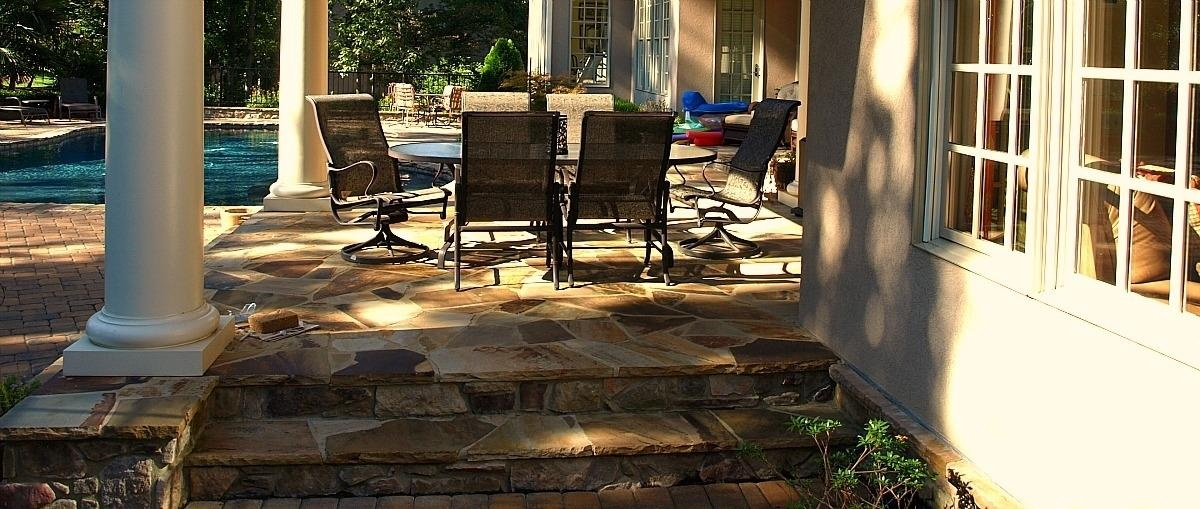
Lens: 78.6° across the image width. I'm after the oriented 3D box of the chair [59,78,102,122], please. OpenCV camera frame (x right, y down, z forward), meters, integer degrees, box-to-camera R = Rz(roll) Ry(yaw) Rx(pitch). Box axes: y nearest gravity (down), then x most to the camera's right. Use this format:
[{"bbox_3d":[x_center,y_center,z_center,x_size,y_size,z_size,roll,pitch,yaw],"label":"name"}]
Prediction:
[{"bbox_3d":[-15.983,-4.740,22.373,0.981,1.243,0.820,-19,24,-41],"label":"chair"}]
